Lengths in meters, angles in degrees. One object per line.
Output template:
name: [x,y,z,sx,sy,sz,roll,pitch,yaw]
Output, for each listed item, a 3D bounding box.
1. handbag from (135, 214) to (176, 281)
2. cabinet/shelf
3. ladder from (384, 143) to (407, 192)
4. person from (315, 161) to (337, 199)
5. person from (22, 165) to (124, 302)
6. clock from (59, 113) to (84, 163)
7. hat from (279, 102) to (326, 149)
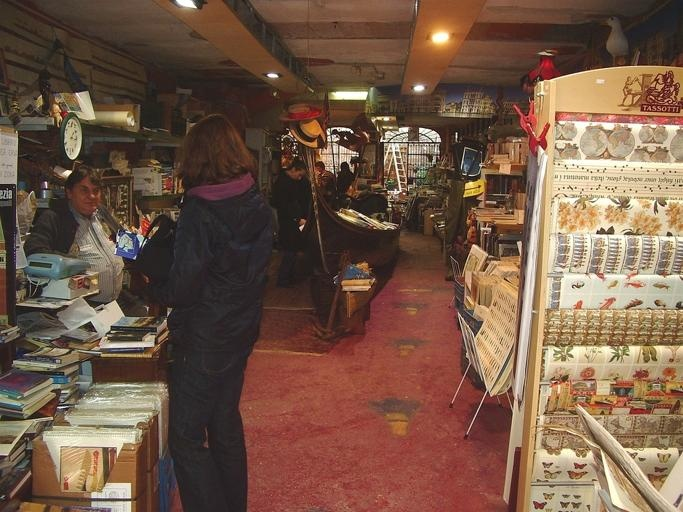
handbag: [-0.990,-0.052,2.967,0.116,0.337,0.253,6,-31,8]
cabinet/shelf: [2.285,-0.879,8.369,0.641,1.623,1.738,0,13,6]
ladder: [1.841,-2.978,18.306,0.793,1.611,0.443,2,11,4]
person: [-0.363,-1.769,12.633,0.468,0.804,1.331,1,12,-3]
person: [-2.158,-0.102,4.402,0.369,1.183,0.957,2,11,4]
clock: [-2.268,-0.996,4.573,0.095,0.401,0.548,-2,12,-15]
hat: [-0.516,-1.790,7.488,0.587,0.631,0.793,1,12,-3]
